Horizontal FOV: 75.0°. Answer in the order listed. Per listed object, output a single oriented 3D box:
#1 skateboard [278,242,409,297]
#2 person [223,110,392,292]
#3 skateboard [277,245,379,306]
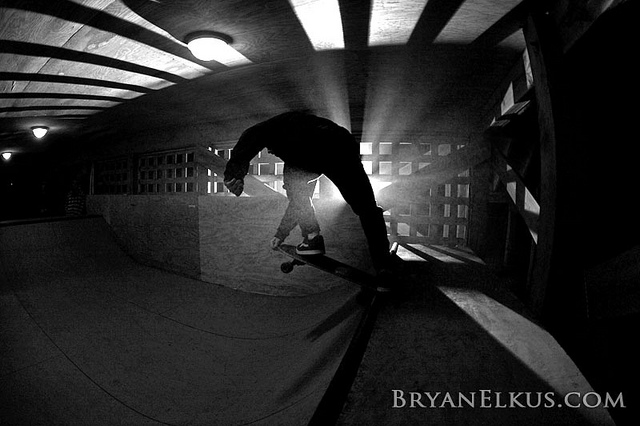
[{"bbox_3d":[0.132,0.303,2.272,0.652,0.093,0.148,17,37,4],"label":"skateboard"},{"bbox_3d":[-0.058,-0.080,2.145,0.891,0.777,0.493,6,-16,0],"label":"person"},{"bbox_3d":[0.046,0.334,2.277,0.593,0.091,0.135,20,35,1],"label":"skateboard"}]
